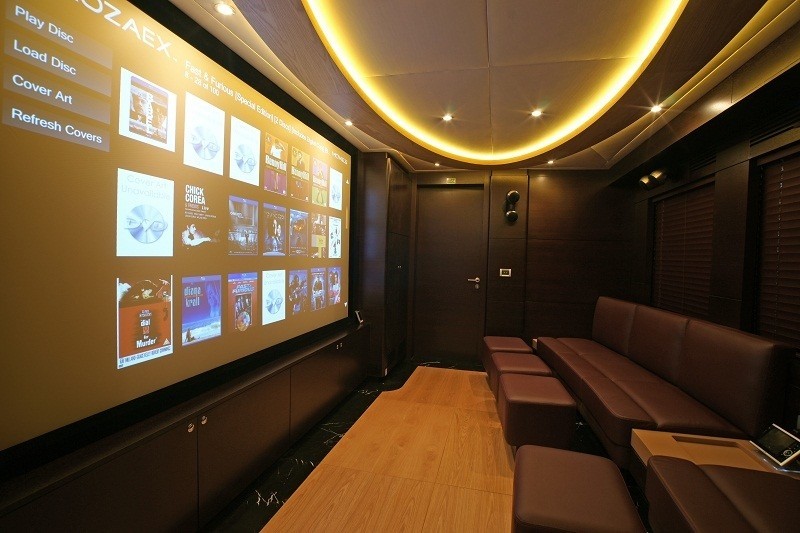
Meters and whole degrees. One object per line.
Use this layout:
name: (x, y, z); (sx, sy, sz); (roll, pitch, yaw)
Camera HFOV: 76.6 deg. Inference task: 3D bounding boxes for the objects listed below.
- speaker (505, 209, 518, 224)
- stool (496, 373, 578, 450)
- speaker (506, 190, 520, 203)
speaker: (1.365, -0.609, 6.214); (0.121, 0.129, 0.156); (-1, -3, 1)
stool: (1.173, 1.197, 4.356); (0.530, 0.485, 0.557); (0, 7, 3)
speaker: (1.360, -0.840, 6.151); (0.114, 0.152, 0.107); (8, 1, 26)
